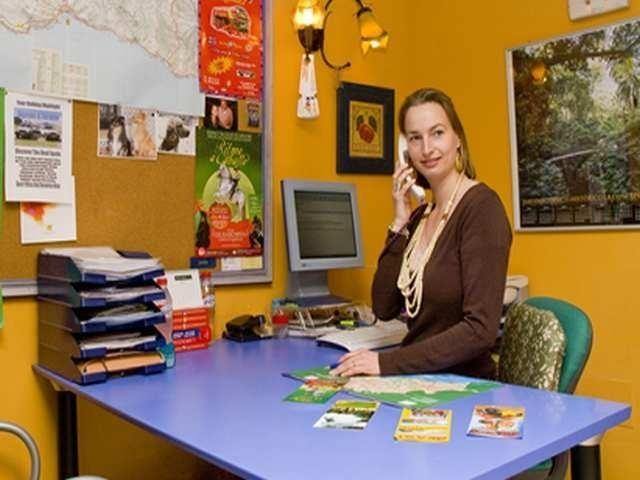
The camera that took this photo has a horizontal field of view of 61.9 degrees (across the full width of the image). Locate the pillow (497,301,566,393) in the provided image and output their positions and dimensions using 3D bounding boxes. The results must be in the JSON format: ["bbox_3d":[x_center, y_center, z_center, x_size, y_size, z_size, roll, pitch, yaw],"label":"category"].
[{"bbox_3d":[0.715,0.375,1.825,0.085,0.271,0.262,16,-5,-12],"label":"pillow"}]
